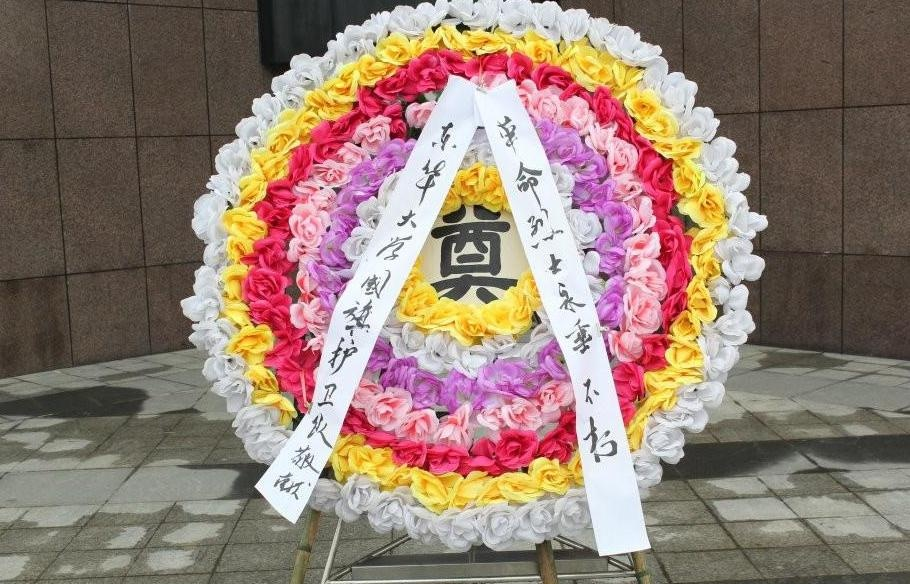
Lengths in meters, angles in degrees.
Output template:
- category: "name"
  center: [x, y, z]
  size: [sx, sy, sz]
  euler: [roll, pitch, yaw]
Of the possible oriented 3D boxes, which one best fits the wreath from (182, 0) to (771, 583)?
- category: "wreath"
  center: [0.084, -0.031, 4.937]
  size: [3.953, 2.532, 1.048]
  euler: [1, 4, 7]
